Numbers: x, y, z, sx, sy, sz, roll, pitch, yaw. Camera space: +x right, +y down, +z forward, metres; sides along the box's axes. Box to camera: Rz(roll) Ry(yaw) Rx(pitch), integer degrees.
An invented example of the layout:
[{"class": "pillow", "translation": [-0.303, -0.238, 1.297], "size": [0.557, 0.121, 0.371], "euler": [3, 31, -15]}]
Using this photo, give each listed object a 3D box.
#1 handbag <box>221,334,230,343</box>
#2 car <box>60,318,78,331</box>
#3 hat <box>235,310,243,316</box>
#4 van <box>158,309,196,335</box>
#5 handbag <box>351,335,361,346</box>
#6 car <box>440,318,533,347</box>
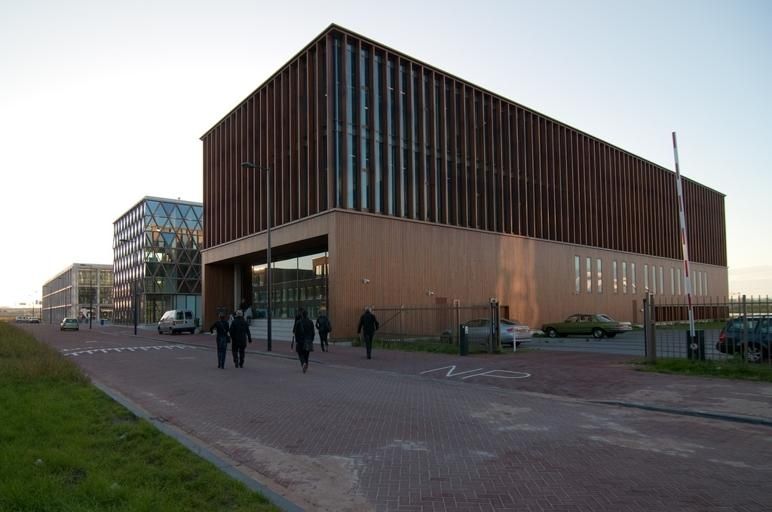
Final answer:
[{"class": "handbag", "translation": [-5.772, 2.993, 21.084], "size": [0.179, 0.247, 0.343], "euler": [1, -7, 11]}, {"class": "car", "translation": [-32.654, 7.139, 60.718], "size": [1.425, 1.346, 2.693], "euler": [0, 3, -28]}, {"class": "hat", "translation": [-5.202, 2.052, 20.874], "size": [0.181, 0.234, 0.230], "euler": [8, -12, -35]}, {"class": "van", "translation": [-16.728, 5.376, 46.936], "size": [1.797, 1.567, 3.116], "euler": [3, -2, -36]}, {"class": "handbag", "translation": [-1.509, 4.405, 30.226], "size": [0.440, 0.346, 0.455], "euler": [-6, -8, 14]}, {"class": "car", "translation": [4.705, 3.633, 27.188], "size": [3.965, 1.619, 2.866], "euler": [0, 1, 4]}]
